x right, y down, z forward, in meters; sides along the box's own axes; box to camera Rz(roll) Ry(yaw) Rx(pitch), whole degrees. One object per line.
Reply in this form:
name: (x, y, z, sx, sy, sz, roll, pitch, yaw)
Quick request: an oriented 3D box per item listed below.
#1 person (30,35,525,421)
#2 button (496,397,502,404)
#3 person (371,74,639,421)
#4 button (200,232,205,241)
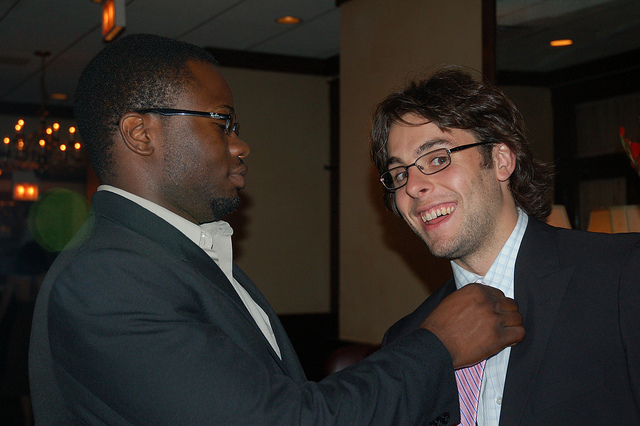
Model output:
person: (-0.279, 0.013, 2.151, 1.450, 1.383, 0.581, -1, -3, 10)
button: (0.690, 0.719, 2.305, 0.029, 0.030, 0.008, 4, -8, 18)
person: (0.870, 0.094, 2.610, 0.705, 1.261, 1.257, 17, -28, -29)
button: (-0.461, 0.093, 2.364, 0.017, 0.019, 0.022, -6, -20, -5)
